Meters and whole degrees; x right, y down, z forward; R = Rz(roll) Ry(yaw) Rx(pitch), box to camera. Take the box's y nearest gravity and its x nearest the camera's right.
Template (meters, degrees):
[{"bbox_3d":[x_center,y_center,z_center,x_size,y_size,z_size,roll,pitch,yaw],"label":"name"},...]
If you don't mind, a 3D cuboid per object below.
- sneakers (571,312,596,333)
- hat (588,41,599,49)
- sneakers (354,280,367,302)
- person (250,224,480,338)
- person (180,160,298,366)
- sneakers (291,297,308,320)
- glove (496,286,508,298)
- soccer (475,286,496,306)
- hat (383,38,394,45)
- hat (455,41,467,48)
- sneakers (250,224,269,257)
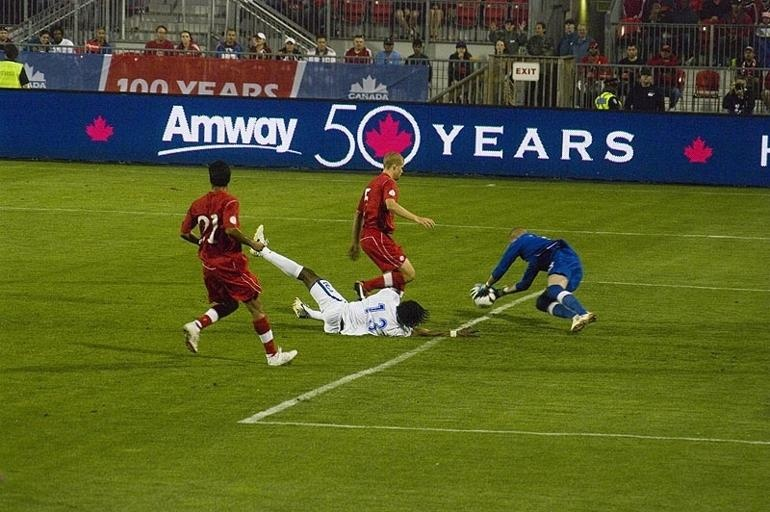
[{"bbox_3d":[2.562,0.851,15.933,0.405,0.175,0.167,-29,-23,38],"label":"sneakers"},{"bbox_3d":[5.665,-5.768,33.232,0.312,0.129,0.336,0,3,-2],"label":"hat"},{"bbox_3d":[-0.349,0.462,16.753,0.132,0.300,0.132,-24,12,-16],"label":"sneakers"},{"bbox_3d":[-0.293,0.438,15.892,3.208,1.054,0.695,10,23,17],"label":"person"},{"bbox_3d":[-1.816,0.050,14.737,1.248,2.387,1.205,-1,16,-9],"label":"person"},{"bbox_3d":[-1.105,0.666,16.300,0.156,0.190,0.324,-33,65,-29],"label":"sneakers"},{"bbox_3d":[1.610,0.503,16.881,0.144,0.055,0.155,1,10,8],"label":"glove"},{"bbox_3d":[1.359,0.549,16.593,0.320,0.207,0.220,0,18,-5],"label":"soccer"},{"bbox_3d":[0.102,-5.901,33.509,0.370,0.268,0.409,2,9,2],"label":"hat"},{"bbox_3d":[2.106,-5.804,33.491,0.350,0.160,0.398,1,10,-4],"label":"hat"},{"bbox_3d":[-1.736,-0.207,16.834,0.228,0.545,0.283,14,11,-6],"label":"sneakers"}]
